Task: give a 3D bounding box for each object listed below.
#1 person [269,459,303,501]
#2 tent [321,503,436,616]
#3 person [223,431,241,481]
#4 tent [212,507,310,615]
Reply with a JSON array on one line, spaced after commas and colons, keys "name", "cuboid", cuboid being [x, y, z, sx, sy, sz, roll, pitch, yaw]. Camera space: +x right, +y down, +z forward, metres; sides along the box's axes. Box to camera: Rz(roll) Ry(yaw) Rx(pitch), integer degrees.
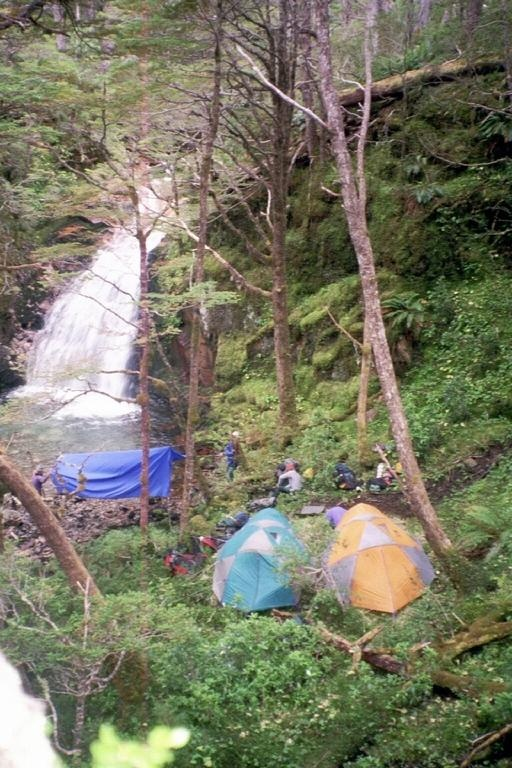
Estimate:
[{"name": "person", "cuboid": [0.632, 1.922, 15.907, 0.631, 0.585, 0.897, -5, 13, 1]}, {"name": "tent", "cuboid": [1.816, 2.393, 11.505, 1.709, 0.712, 2.003, -2, 26, 4]}, {"name": "person", "cuboid": [-0.551, 1.692, 18.042, 0.372, 1.051, 1.092, -6, 14, -3]}, {"name": "tent", "cuboid": [0.036, 2.684, 12.369, 1.700, 0.801, 2.393, 10, 14, 8]}]
